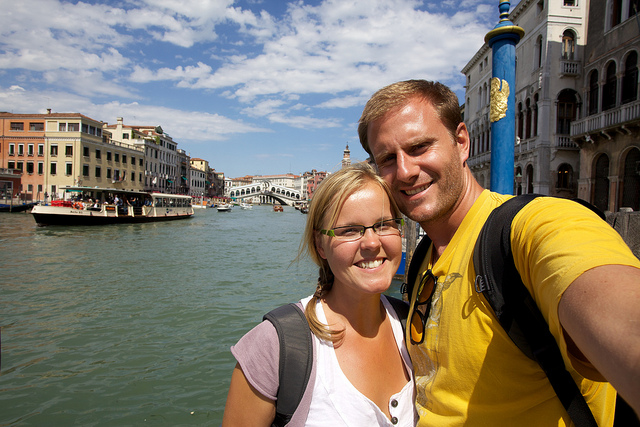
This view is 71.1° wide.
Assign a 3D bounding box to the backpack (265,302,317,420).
[{"bbox_3d":[-0.256,1.227,3.683,0.387,0.820,0.312,1,7,-8],"label":"backpack"}]

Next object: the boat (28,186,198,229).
[{"bbox_3d":[-16.151,-0.622,37.616,2.451,3.451,17.876,3,6,11],"label":"boat"}]

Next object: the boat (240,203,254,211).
[{"bbox_3d":[-17.405,-1.415,104.942,3.745,1.477,1.989,-1,7,2],"label":"boat"}]

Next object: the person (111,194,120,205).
[{"bbox_3d":[-16.294,-1.058,35.809,0.836,0.935,0.580,4,2,21],"label":"person"}]

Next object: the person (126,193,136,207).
[{"bbox_3d":[-15.900,-1.100,37.765,0.994,0.980,0.713,-2,4,-13],"label":"person"}]

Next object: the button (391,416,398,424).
[{"bbox_3d":[0.618,1.720,3.720,0.057,0.063,0.018,1,7,-9],"label":"button"}]

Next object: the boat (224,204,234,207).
[{"bbox_3d":[-19.085,-1.675,93.855,1.989,0.694,1.505,1,5,-13],"label":"boat"}]
